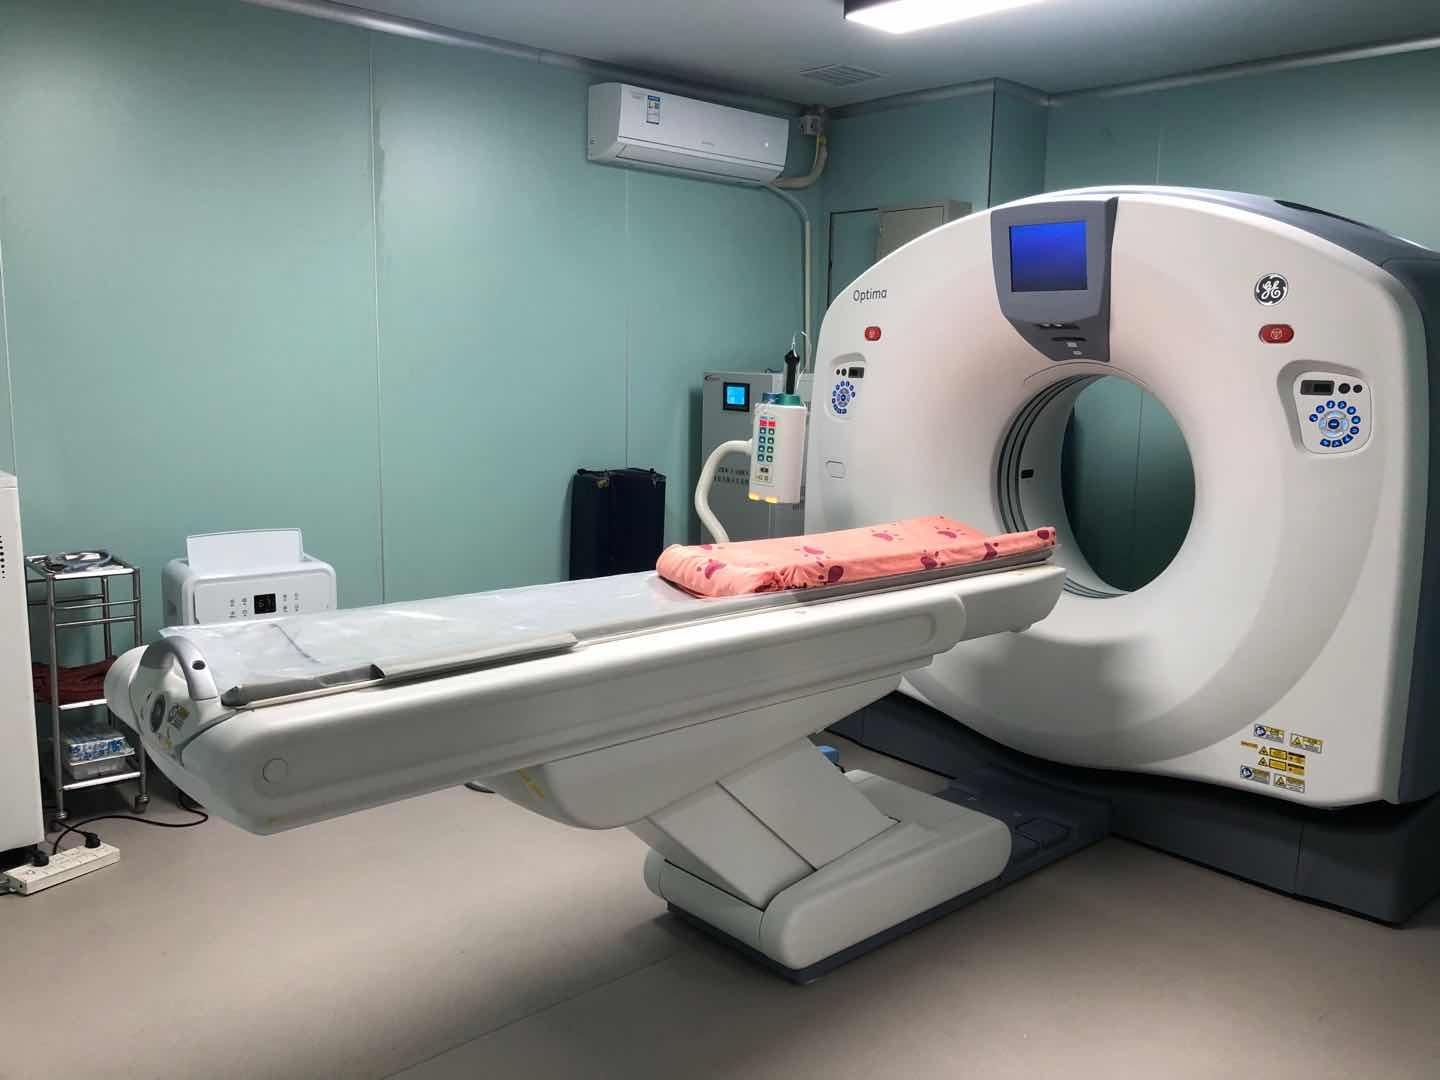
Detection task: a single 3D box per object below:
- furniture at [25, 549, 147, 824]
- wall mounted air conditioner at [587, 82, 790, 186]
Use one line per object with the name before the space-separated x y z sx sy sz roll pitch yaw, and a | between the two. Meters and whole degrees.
furniture | -1.967 0.474 3.079 0.413 0.788 0.401 -4 8 -39
wall mounted air conditioner | -0.129 -1.901 4.724 1.018 0.304 0.288 -8 19 -43
